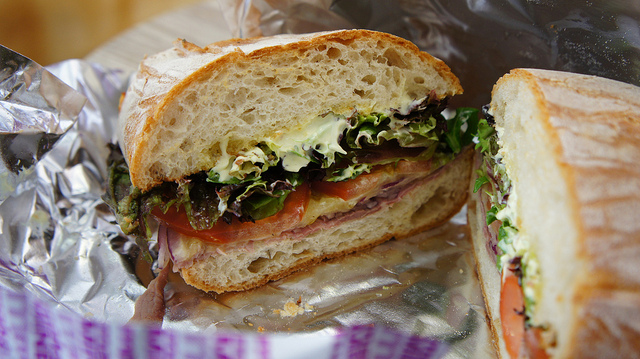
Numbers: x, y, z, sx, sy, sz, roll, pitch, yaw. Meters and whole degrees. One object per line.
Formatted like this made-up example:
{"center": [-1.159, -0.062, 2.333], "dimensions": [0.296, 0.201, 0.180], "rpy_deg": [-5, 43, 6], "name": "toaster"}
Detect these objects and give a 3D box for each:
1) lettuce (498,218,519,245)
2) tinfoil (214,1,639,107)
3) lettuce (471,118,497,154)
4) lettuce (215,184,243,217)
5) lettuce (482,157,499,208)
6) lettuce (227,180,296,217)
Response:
{"center": [1.051, 0.291, 3.145], "dimensions": [0.124, 0.117, 0.051], "rpy_deg": [-18, 17, -15], "name": "lettuce"}
{"center": [0.969, -1.020, 3.713], "dimensions": [1.578, 1.203, 0.463], "rpy_deg": [16, 83, -1], "name": "tinfoil"}
{"center": [1.024, -0.264, 3.500], "dimensions": [0.188, 0.089, 0.179], "rpy_deg": [2, 77, 6], "name": "lettuce"}
{"center": [-0.529, 0.135, 3.386], "dimensions": [0.062, 0.157, 0.161], "rpy_deg": [33, 18, 2], "name": "lettuce"}
{"center": [1.035, 0.035, 3.398], "dimensions": [0.043, 0.047, 0.332], "rpy_deg": [14, 40, -22], "name": "lettuce"}
{"center": [-0.370, 0.090, 3.441], "dimensions": [0.271, 0.264, 0.105], "rpy_deg": [-14, 81, -29], "name": "lettuce"}
